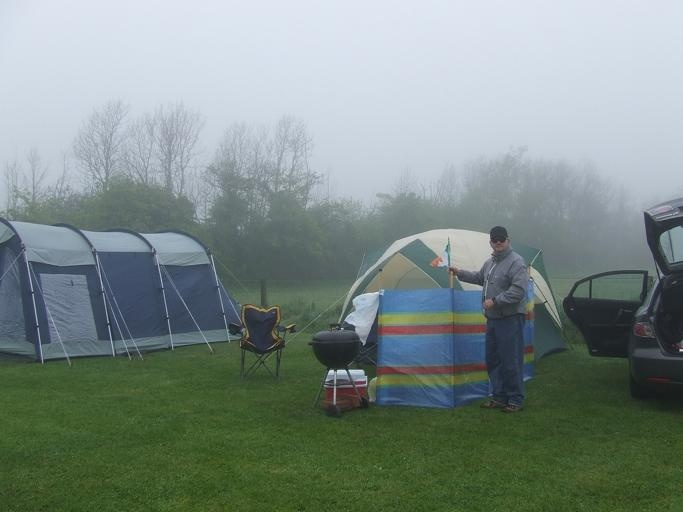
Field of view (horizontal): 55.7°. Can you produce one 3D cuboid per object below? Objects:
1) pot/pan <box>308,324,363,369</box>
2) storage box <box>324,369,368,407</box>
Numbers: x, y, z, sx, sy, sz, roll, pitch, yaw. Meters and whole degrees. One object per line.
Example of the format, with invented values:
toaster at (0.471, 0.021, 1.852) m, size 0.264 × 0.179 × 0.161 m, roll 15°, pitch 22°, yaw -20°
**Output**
pot/pan at (-0.068, 1.065, 7.339) m, size 0.542 × 0.436 × 0.280 m, roll -1°, pitch 6°, yaw -5°
storage box at (-0.079, 1.586, 7.763) m, size 0.640 × 0.400 × 0.618 m, roll 6°, pitch -10°, yaw -33°
